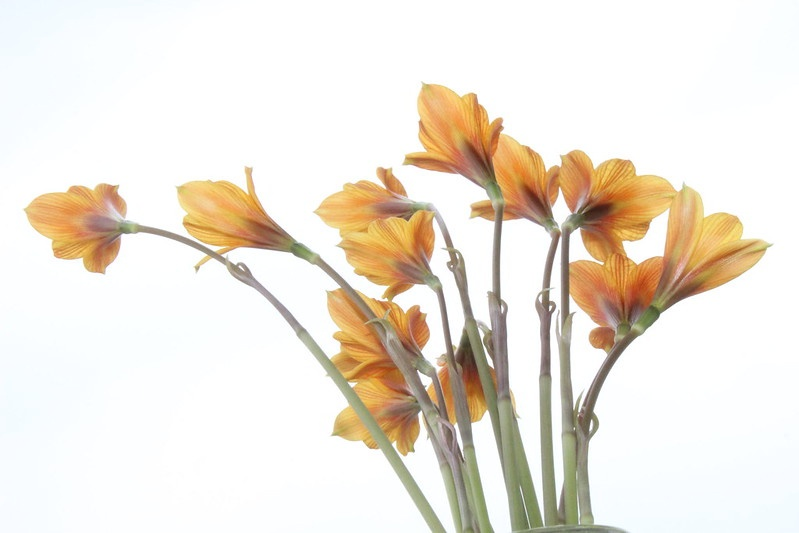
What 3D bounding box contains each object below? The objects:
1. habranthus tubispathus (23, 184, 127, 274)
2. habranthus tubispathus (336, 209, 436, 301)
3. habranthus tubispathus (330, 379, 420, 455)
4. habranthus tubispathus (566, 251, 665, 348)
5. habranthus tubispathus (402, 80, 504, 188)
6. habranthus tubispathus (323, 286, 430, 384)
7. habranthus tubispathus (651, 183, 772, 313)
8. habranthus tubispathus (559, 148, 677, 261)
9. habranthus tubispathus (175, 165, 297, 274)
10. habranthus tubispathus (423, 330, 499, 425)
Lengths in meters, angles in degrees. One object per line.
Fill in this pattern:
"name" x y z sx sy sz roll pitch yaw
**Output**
"habranthus tubispathus" -0.552 -0.077 1.490 0.160 0.098 0.129 14 -41 -21
"habranthus tubispathus" -0.008 -0.021 1.450 0.140 0.058 0.136 -24 -72 5
"habranthus tubispathus" -0.040 0.247 1.484 0.133 0.035 0.131 41 -62 -14
"habranthus tubispathus" 0.347 0.040 1.388 0.142 0.059 0.150 7 -56 2
"habranthus tubispathus" 0.091 -0.211 1.452 0.154 0.161 0.136 1 -38 -6
"habranthus tubispathus" -0.034 0.109 1.468 0.166 0.123 0.117 -4 -38 1
"habranthus tubispathus" 0.493 -0.019 1.416 0.148 0.154 0.144 10 -40 -16
"habranthus tubispathus" 0.332 -0.107 1.474 0.170 0.073 0.196 34 -26 -24
"habranthus tubispathus" -0.264 -0.073 1.493 0.252 0.049 0.110 34 -84 -41
"habranthus tubispathus" 0.128 0.178 1.518 0.136 0.148 0.148 3 -52 10
